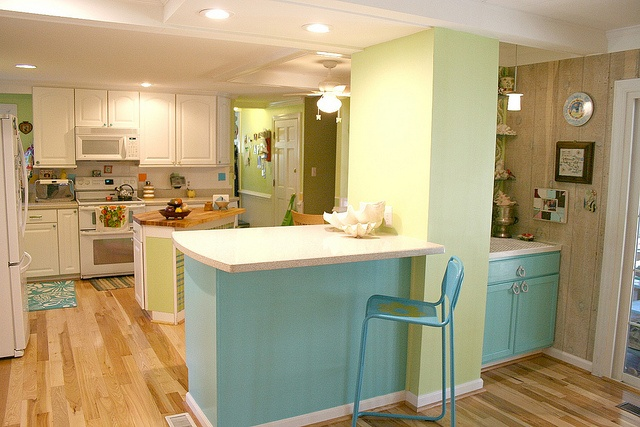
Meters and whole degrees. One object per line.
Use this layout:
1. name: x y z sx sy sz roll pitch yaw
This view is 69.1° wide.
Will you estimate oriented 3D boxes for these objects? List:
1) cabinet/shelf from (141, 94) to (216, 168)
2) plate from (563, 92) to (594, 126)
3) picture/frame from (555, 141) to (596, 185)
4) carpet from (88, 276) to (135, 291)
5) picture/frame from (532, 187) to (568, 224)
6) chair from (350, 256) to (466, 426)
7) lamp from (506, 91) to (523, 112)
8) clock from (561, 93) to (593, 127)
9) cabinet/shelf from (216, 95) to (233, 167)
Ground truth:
1. cabinet/shelf: -2.227 -1.326 7.138 1.163 1.030 0.444 -1 5 -20
2. plate: 2.514 -1.025 4.499 0.052 0.401 0.355 -1 3 -28
3. picture/frame: 2.506 -0.507 4.532 0.057 0.511 0.416 -4 8 -37
4. carpet: -2.940 0.977 6.574 0.542 0.040 0.601 -5 10 -30
5. picture/frame: 2.354 -0.093 4.726 0.039 0.375 0.341 -5 11 -34
6. chair: 0.698 1.002 3.691 0.768 1.450 0.828 2 10 15
7. lamp: 1.933 -1.114 4.664 0.220 0.203 0.210 1 8 13
8. clock: 2.509 -1.022 4.504 0.052 0.400 0.354 -1 3 -28
9. cabinet/shelf: -1.550 -1.367 7.631 0.164 1.104 0.571 1 10 5
